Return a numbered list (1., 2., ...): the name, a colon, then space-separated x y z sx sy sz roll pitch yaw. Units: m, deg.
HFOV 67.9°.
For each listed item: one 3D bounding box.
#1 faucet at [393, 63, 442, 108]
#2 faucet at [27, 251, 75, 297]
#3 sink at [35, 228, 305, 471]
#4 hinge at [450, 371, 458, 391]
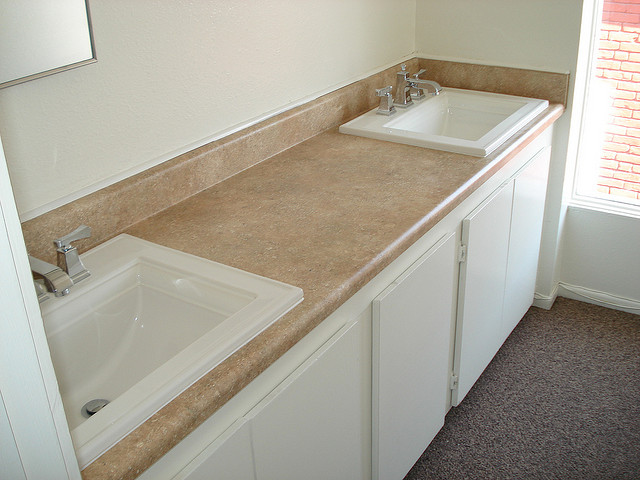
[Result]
1. faucet: 0.445 -0.737 2.305 0.275 0.203 0.119 -1 23 -23
2. faucet: -0.670 0.084 1.175 0.044 0.071 0.205 -22 39 -39
3. sink: -0.381 0.261 1.222 0.457 0.113 0.435 -32 43 -32
4. hinge: 0.547 0.578 1.947 0.031 0.095 0.019 6 30 16
